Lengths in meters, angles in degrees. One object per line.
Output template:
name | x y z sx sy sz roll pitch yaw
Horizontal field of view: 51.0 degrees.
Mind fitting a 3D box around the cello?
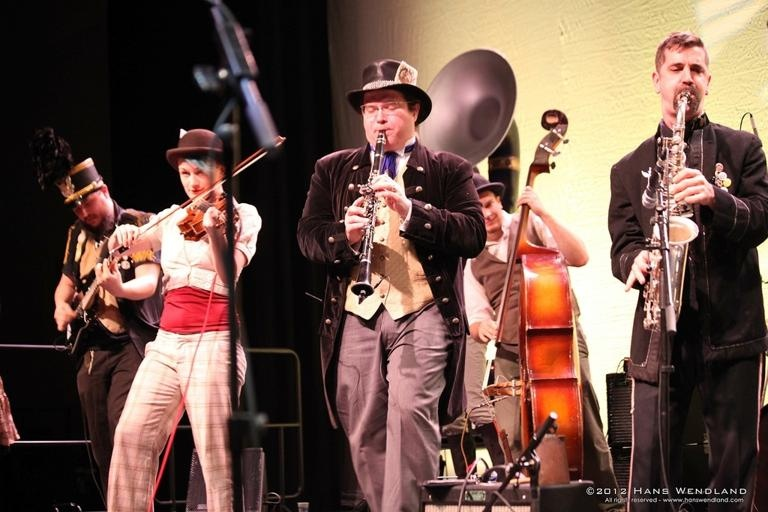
cello | 1.111 0.531 6.288 0.866 2.933 0.780 1 13 9

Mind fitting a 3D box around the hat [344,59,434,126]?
hat | 0.027 -1.173 5.716 0.726 0.317 0.615 -2 -16 33

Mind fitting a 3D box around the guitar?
guitar | -2.350 0.321 6.451 0.355 0.922 0.414 6 -12 -8

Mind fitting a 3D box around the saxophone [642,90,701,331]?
saxophone | 1.752 -0.267 4.952 0.382 1.461 0.333 0 16 2
